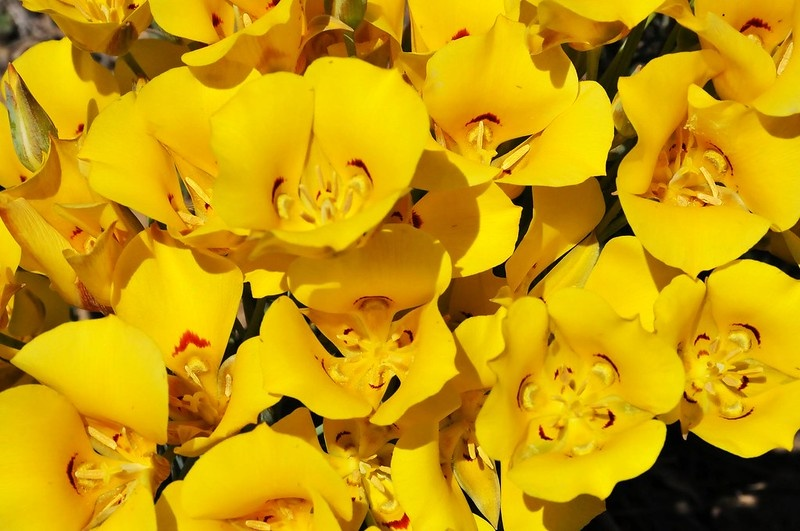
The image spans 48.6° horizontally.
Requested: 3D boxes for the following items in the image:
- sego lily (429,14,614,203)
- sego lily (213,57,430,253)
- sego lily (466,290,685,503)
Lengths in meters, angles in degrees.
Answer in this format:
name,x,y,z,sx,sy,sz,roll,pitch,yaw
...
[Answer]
name,x,y,z,sx,sy,sz,roll,pitch,yaw
sego lily,0.215,-0.260,1.505,0.334,0.179,0.240,38,72,20
sego lily,-0.128,-0.152,1.402,0.318,0.182,0.328,18,67,12
sego lily,0.279,0.248,1.460,0.297,0.280,0.304,27,69,16
